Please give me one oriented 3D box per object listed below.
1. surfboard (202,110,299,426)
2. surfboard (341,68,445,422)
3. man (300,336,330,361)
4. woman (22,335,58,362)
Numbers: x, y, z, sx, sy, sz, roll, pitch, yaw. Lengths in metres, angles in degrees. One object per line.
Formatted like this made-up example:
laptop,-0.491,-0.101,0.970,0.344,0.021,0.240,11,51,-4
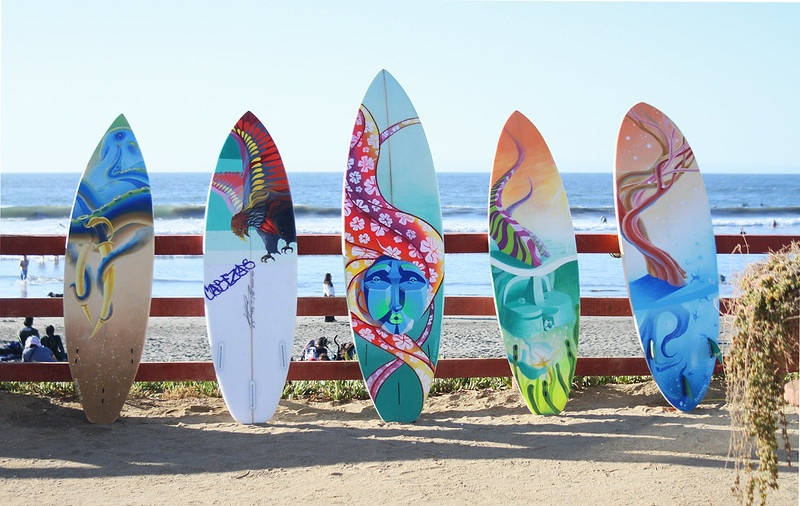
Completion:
surfboard,-2.312,0.300,20.960,1.375,4.602,0.629,-1,4,-9
surfboard,-0.118,-0.120,21.017,1.494,5.389,0.743,0,4,-2
man,-1.340,1.593,22.207,0.225,0.304,0.684,2,1,2
woman,-5.801,1.563,21.762,0.497,0.359,0.697,-1,4,-15
